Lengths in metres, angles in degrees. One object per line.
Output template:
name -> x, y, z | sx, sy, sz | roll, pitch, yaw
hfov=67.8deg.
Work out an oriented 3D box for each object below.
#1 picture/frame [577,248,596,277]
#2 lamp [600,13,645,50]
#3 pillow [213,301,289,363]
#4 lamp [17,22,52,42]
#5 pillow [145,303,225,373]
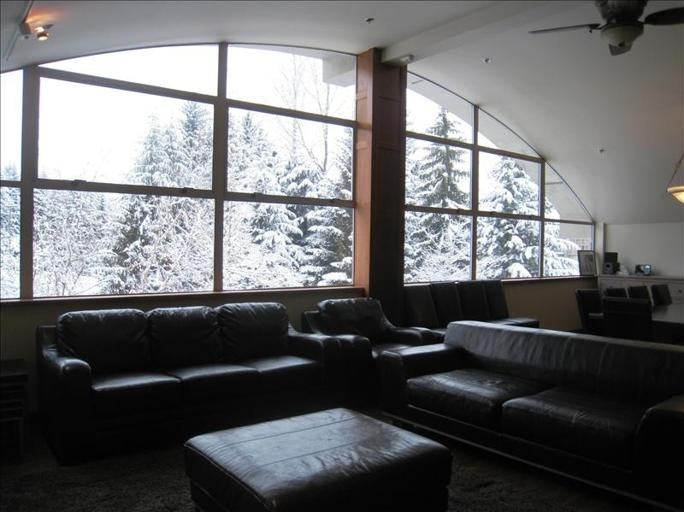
picture/frame -> 4.517, 0.138, 9.427 | 0.523, 0.494, 0.050 | 2, -4, -42
lamp -> 2.478, -1.966, 4.539 | 0.252, 0.097, 0.252 | 1, -7, -5
pillow -> -0.900, 0.717, 5.042 | 0.692, 0.524, 0.484 | 1, -1, -31
lamp -> -2.379, -1.741, 3.958 | 0.160, 0.066, 0.166 | -6, 3, -11
pillow -> -1.466, 0.728, 4.914 | 0.907, 0.774, 0.456 | 2, -25, -27
